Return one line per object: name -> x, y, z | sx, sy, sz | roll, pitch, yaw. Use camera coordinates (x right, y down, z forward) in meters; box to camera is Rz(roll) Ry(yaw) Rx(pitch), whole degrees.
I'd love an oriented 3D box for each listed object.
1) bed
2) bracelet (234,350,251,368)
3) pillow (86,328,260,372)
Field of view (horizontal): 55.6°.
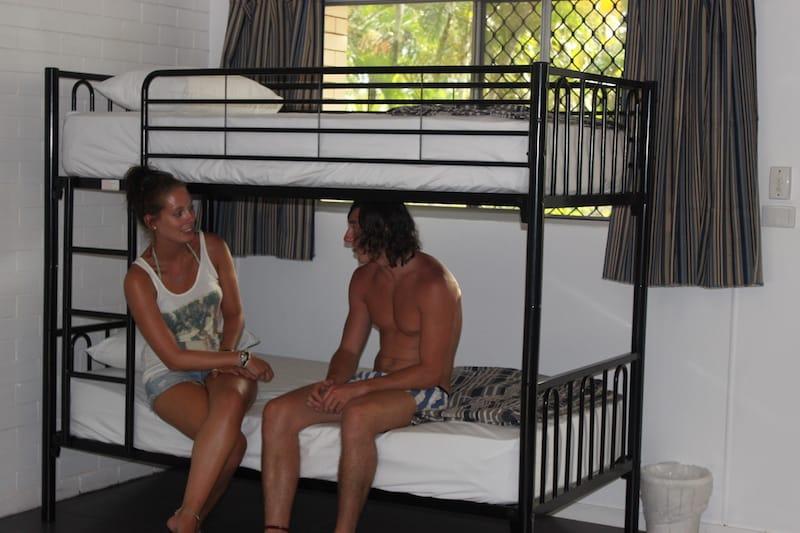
bed -> -0.247, 0.205, 4.059 | 2.514, 2.231, 1.492 | 3, 7, 26
bracelet -> -0.826, 0.490, 4.011 | 0.072, 0.079, 0.064 | -2, 4, -11
pillow -> -1.534, 0.476, 4.513 | 0.476, 0.149, 0.476 | -7, 4, -33
